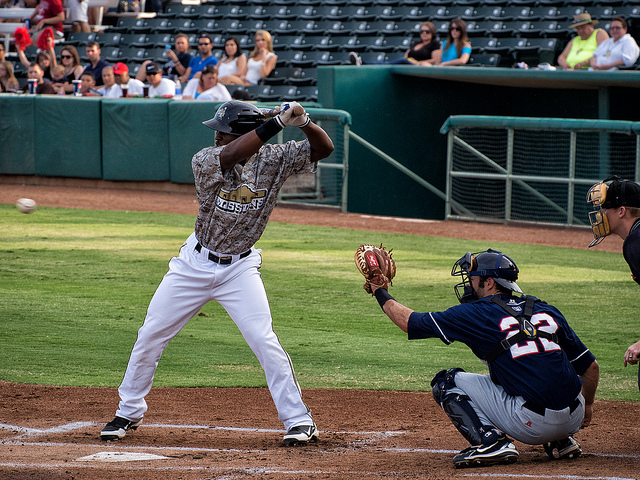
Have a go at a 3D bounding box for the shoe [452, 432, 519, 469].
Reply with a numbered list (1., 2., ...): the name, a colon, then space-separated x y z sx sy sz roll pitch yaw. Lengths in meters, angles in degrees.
1. shoe: 1.520 1.911 11.927 0.576 0.307 0.089 1 9 -8

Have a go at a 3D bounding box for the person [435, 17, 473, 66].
1. person: 2.117 -3.190 21.209 0.653 0.745 0.538 7 9 29

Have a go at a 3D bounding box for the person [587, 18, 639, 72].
1. person: 4.470 -2.964 19.927 0.651 0.789 0.714 -2 9 -26

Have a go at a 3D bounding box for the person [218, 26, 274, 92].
1. person: -1.319 -3.171 22.945 0.736 0.964 1.140 18 26 35

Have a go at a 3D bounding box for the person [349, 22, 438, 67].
1. person: 1.247 -3.129 21.807 1.319 0.712 1.174 -1 5 -19

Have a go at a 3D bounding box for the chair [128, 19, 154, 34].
1. chair: -3.716 -4.362 27.045 0.438 0.386 0.390 3 0 -22

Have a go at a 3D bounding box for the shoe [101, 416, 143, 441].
1. shoe: -1.938 1.750 12.431 0.465 0.185 0.150 -5 31 -30

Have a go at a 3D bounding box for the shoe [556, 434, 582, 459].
1. shoe: 2.324 1.913 12.248 0.228 0.200 0.243 -5 -18 -9

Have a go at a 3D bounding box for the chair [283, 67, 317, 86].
1. chair: -0.317 -2.917 23.507 0.478 0.428 0.436 3 6 -2

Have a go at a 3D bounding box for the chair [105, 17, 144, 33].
1. chair: -4.088 -4.561 27.314 0.596 0.519 0.509 3 6 12

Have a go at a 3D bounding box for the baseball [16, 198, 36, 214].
1. baseball: -4.225 -0.487 18.612 0.251 0.150 0.226 0 18 -30

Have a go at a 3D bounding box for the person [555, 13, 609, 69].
1. person: 4.185 -3.099 20.733 0.855 0.842 1.030 -11 9 -21

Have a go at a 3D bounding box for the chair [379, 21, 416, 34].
1. chair: 1.430 -3.904 24.076 0.344 0.372 0.391 10 6 44

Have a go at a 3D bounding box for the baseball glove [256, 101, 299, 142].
1. baseball glove: -0.391 -1.117 12.131 0.390 0.335 0.312 12 21 38

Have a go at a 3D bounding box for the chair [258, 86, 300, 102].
1. chair: -0.764 -2.592 23.113 0.631 0.306 0.368 1 1 7

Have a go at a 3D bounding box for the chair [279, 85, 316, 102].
1. chair: -0.414 -2.595 23.189 0.463 0.417 0.417 3 12 0
